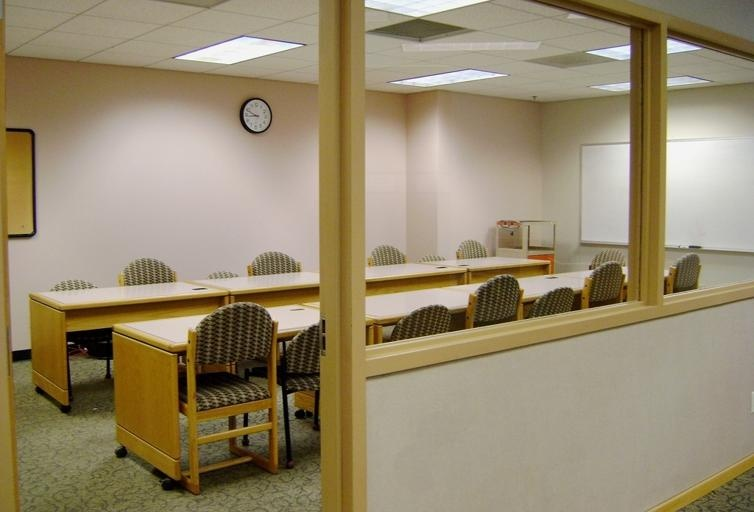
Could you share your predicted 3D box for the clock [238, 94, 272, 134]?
[{"bbox_3d":[-1.665,-1.930,7.335,0.599,0.600,0.147,-2,5,-39],"label":"clock"}]
